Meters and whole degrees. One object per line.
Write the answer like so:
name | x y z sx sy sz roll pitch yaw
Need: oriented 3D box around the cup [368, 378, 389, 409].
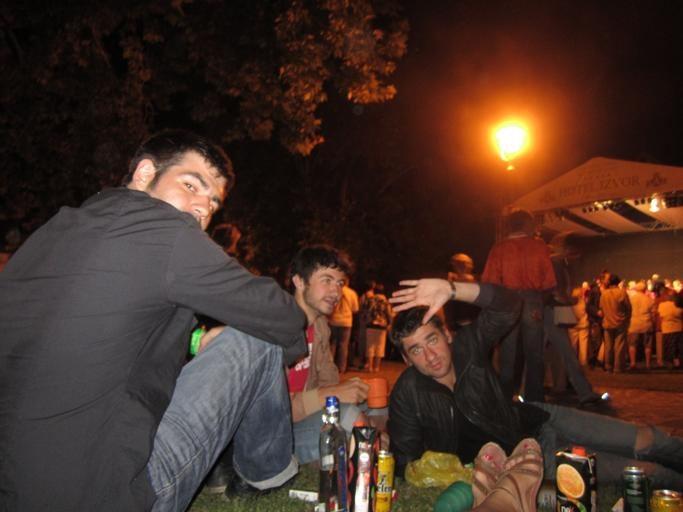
cup | 0.300 1.194 4.450 0.232 0.251 0.243 -1 -18 0
